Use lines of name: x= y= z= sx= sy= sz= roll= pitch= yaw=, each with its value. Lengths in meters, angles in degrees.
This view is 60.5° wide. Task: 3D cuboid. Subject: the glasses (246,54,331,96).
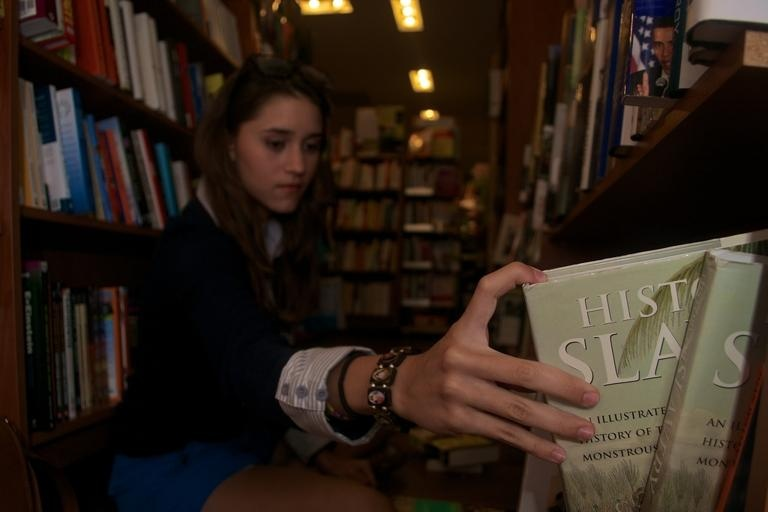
glasses: x=-0.267 y=-0.529 z=1.923 sx=0.151 sy=0.045 sz=0.120 roll=21 pitch=14 yaw=-7
